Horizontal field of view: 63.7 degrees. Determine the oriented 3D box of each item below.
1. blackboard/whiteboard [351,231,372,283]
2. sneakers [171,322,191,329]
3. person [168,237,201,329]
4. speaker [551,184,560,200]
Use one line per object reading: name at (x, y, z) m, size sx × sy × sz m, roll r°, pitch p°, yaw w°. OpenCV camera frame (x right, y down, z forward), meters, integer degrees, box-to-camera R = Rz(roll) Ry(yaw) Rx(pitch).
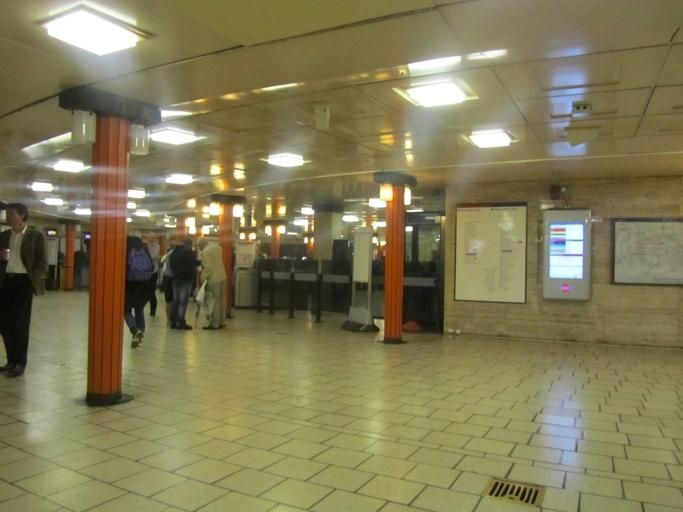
blackboard/whiteboard at (0.482, -0.018, 12.422) m, size 0.236 × 1.235 × 0.910 m, roll 0°, pitch 2°, yaw -18°
sneakers at (-3.464, 1.516, 11.850) m, size 0.446 × 0.182 × 0.147 m, roll 4°, pitch 0°, yaw -6°
person at (-3.391, 0.593, 11.808) m, size 0.591 × 1.963 × 0.765 m, roll 0°, pitch 2°, yaw -18°
speaker at (4.470, -1.339, 11.479) m, size 0.214 × 0.303 × 0.154 m, roll 2°, pitch 2°, yaw 19°
